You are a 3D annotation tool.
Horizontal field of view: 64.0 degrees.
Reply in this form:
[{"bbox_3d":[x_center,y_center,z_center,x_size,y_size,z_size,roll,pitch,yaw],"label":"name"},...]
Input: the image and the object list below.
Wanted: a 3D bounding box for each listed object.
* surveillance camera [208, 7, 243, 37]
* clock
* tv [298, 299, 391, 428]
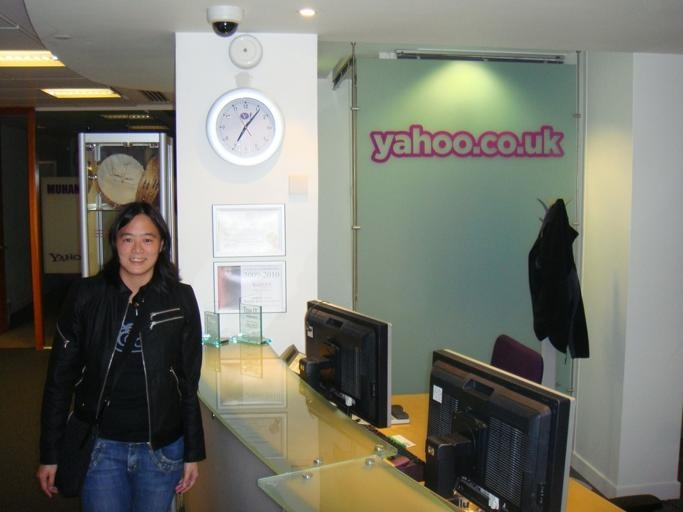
[{"bbox_3d":[-0.788,-1.586,3.691,0.162,0.134,0.169,-5,11,-17],"label":"surveillance camera"},{"bbox_3d":[-0.751,-1.023,4.204,0.545,0.609,0.082,0,3,-3],"label":"clock"},{"bbox_3d":[0.006,0.641,3.144,0.254,0.600,0.667,-9,16,-32],"label":"tv"}]
